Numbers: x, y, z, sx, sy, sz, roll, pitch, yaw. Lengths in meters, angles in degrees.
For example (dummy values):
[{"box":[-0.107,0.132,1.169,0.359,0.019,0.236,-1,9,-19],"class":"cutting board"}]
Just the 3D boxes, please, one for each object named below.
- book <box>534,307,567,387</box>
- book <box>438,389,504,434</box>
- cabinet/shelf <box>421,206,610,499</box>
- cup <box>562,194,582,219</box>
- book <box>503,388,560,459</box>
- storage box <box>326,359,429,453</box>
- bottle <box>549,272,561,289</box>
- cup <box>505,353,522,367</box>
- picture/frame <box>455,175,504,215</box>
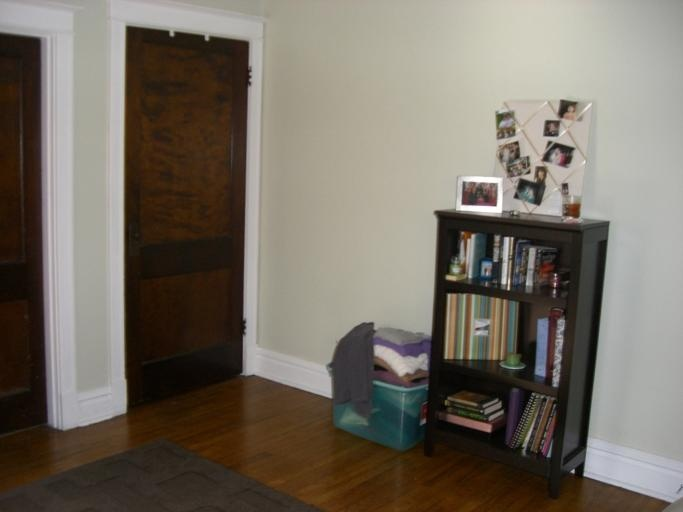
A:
[{"box":[1.171,0.522,3.170,0.218,0.397,0.395,4,6,21],"class":"book"},{"box":[0.812,0.899,3.429,0.245,0.095,0.240,7,9,42],"class":"book"},{"box":[0.953,0.482,3.304,0.818,1.442,0.418,9,13,36],"class":"cabinet/shelf"},{"box":[1.242,-0.282,3.083,0.100,0.132,0.121,1,1,15],"class":"cup"},{"box":[1.084,0.951,3.228,0.094,0.331,0.242,10,-6,9],"class":"book"},{"box":[0.240,0.951,3.717,0.570,0.421,0.414,6,7,41],"class":"storage box"},{"box":[1.206,0.131,3.211,0.060,0.090,0.044,10,14,31],"class":"bottle"},{"box":[0.997,0.595,3.322,0.085,0.049,0.090,0,1,0],"class":"cup"},{"box":[0.821,-0.364,3.380,0.214,0.195,0.016,6,4,20],"class":"picture/frame"}]
